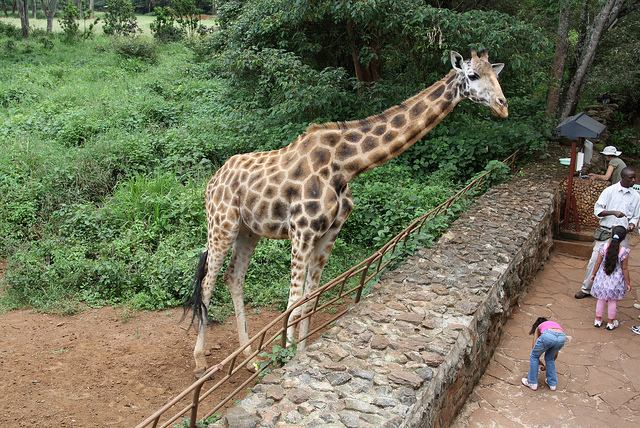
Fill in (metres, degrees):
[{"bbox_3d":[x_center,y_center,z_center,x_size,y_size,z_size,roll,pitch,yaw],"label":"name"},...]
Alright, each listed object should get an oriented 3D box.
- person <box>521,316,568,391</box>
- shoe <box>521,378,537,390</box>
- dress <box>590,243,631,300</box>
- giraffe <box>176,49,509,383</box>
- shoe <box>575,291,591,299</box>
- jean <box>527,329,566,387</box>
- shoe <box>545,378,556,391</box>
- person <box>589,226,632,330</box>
[{"bbox_3d":[3.845,2.444,8.584,0.607,1.193,0.458,4,21,18],"label":"person"},{"bbox_3d":[3.655,2.980,8.659,0.095,0.100,0.243,-14,19,-23],"label":"shoe"},{"bbox_3d":[5.661,1.140,9.708,0.572,1.058,0.388,8,7,28],"label":"dress"},{"bbox_3d":[0.013,0.026,8.678,5.031,5.169,1.873,-6,20,-10],"label":"giraffe"},{"bbox_3d":[5.598,1.733,10.608,0.361,0.162,0.134,1,12,-4],"label":"shoe"},{"bbox_3d":[3.880,2.483,8.512,0.561,1.113,0.160,-3,20,0],"label":"jean"},{"bbox_3d":[4.010,2.989,8.660,0.075,0.091,0.231,-19,40,2],"label":"shoe"},{"bbox_3d":[5.736,1.206,9.763,0.647,1.963,0.958,9,23,31],"label":"person"}]
